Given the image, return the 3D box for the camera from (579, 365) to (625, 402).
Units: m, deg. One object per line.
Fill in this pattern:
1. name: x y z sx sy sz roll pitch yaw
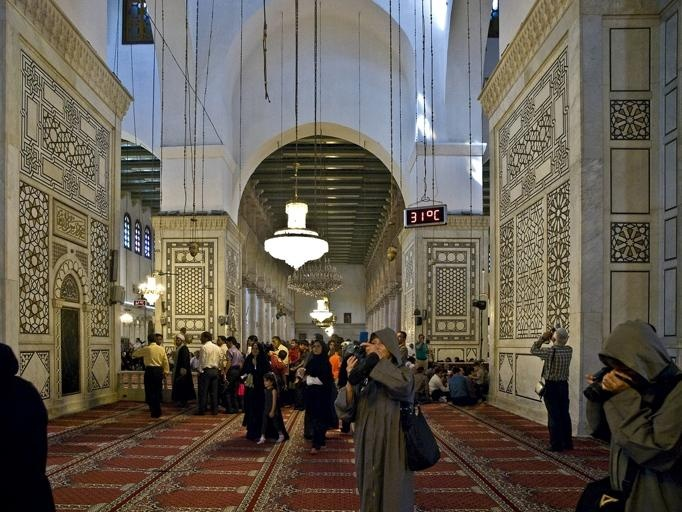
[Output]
1. camera: 1.738 0.858 4.945 0.077 0.228 0.215 33 4 -47

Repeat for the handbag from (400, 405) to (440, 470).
1. handbag: 0.642 1.467 5.949 0.267 0.575 0.329 0 1 30

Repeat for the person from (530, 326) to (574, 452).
1. person: 2.598 1.600 9.177 0.471 1.434 1.908 0 1 17
